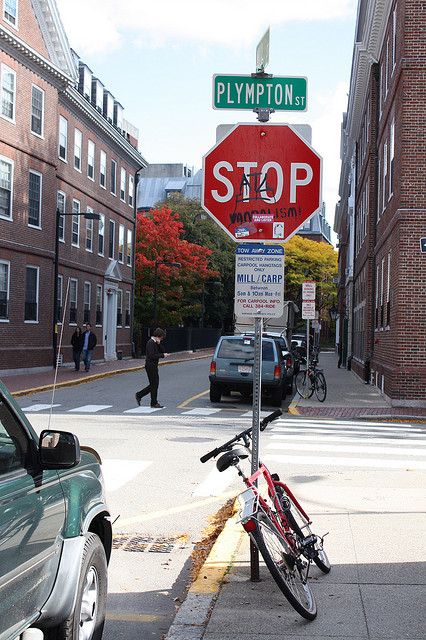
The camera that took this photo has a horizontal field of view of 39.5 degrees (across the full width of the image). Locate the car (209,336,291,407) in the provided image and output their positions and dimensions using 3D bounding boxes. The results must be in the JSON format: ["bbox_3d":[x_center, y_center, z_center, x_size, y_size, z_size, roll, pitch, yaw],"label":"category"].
[{"bbox_3d":[1.009,1.366,16.969,1.398,1.337,2.619,1,4,11],"label":"car"}]

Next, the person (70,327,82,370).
[{"bbox_3d":[-6.482,1.346,28.301,0.470,2.017,1.152,-1,0,-17],"label":"person"}]

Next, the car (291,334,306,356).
[{"bbox_3d":[6.246,1.770,42.528,1.013,1.087,1.975,2,6,15],"label":"car"}]

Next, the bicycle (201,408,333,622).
[{"bbox_3d":[0.337,1.167,3.512,0.581,1.037,1.148,-1,0,15],"label":"bicycle"}]

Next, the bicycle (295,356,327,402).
[{"bbox_3d":[3.324,1.948,19.822,0.449,1.353,2.084,-3,1,-19],"label":"bicycle"}]

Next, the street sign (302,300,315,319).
[{"bbox_3d":[3.315,-0.385,20.661,0.404,0.588,1.254,-1,0,8],"label":"street sign"}]

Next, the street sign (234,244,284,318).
[{"bbox_3d":[0.317,-0.279,4.046,0.343,0.562,0.050,1,-25,4],"label":"street sign"}]
